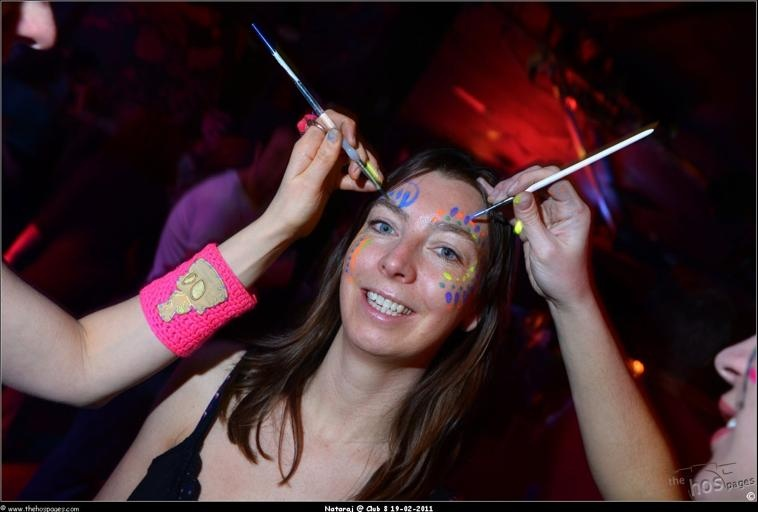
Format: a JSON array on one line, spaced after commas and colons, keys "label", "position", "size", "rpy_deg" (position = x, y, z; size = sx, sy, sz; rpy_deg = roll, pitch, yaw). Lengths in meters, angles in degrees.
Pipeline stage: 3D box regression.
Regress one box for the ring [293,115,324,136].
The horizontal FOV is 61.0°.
[{"label": "ring", "position": [-0.346, -0.644, 3.192], "size": [0.038, 0.119, 0.089], "rpy_deg": [7, 56, -35]}]
